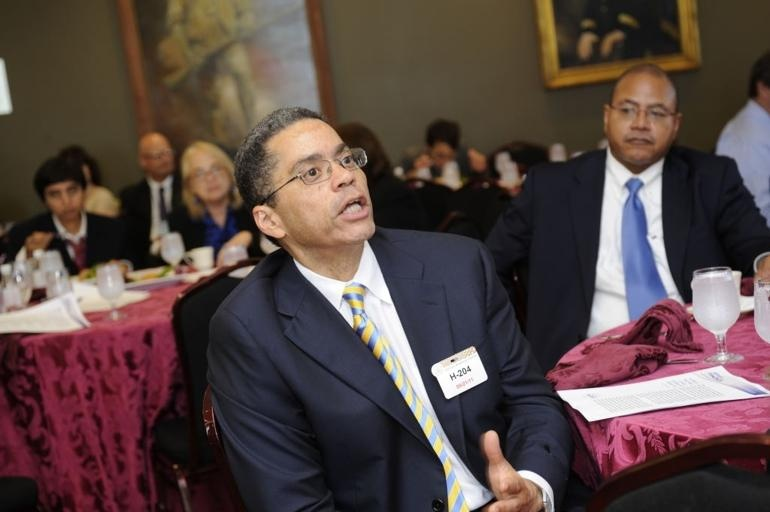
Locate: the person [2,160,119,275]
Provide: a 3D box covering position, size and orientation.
[{"bbox_3d":[-2.592,-0.351,4.651,0.879,0.952,0.699,2,14,45],"label":"person"}]

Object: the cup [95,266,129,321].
[{"bbox_3d":[-1.236,0.156,2.622,0.114,0.268,0.105,2,22,-1],"label":"cup"}]

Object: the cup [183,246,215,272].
[{"bbox_3d":[-1.110,0.016,3.527,0.149,0.177,0.227,-2,-4,-35],"label":"cup"}]

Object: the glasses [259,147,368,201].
[{"bbox_3d":[-0.158,-0.180,1.479,0.179,0.048,0.174,-34,-5,34],"label":"glasses"}]
